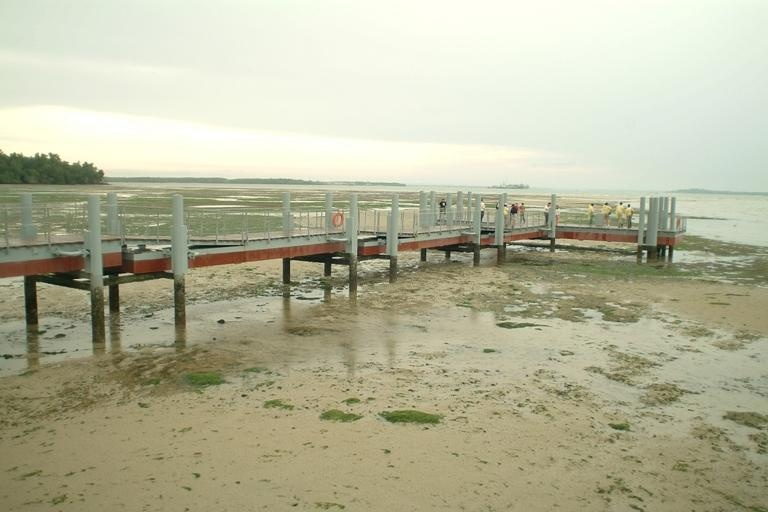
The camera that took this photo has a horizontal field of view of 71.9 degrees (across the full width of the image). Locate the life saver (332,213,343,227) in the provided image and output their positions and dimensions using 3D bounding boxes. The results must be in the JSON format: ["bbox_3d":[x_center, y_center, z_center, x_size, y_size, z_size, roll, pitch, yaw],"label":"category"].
[{"bbox_3d":[-2.215,-1.749,25.423,0.196,0.515,0.815,10,6,39],"label":"life saver"}]
